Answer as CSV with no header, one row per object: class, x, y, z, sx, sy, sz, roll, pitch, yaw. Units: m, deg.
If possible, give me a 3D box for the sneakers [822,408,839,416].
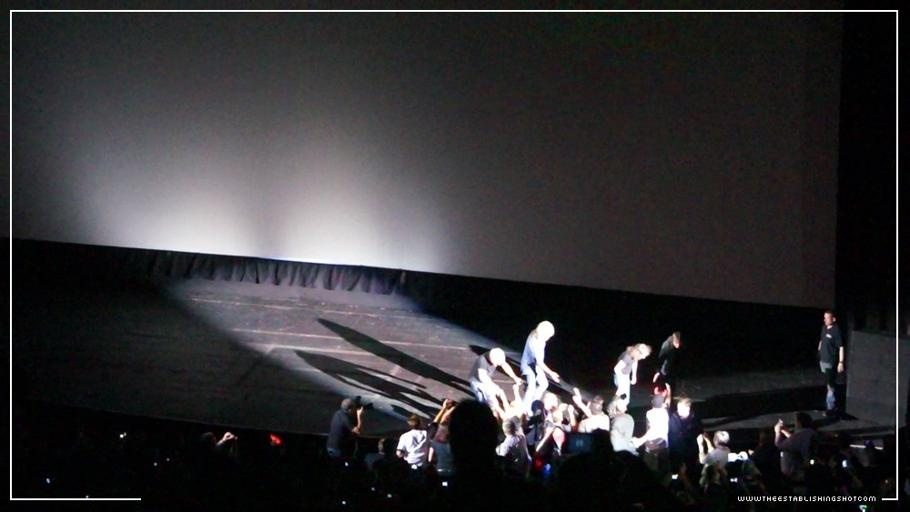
sneakers,5.787,2.418,9.887,0.260,0.099,0.091,3,5,-10
